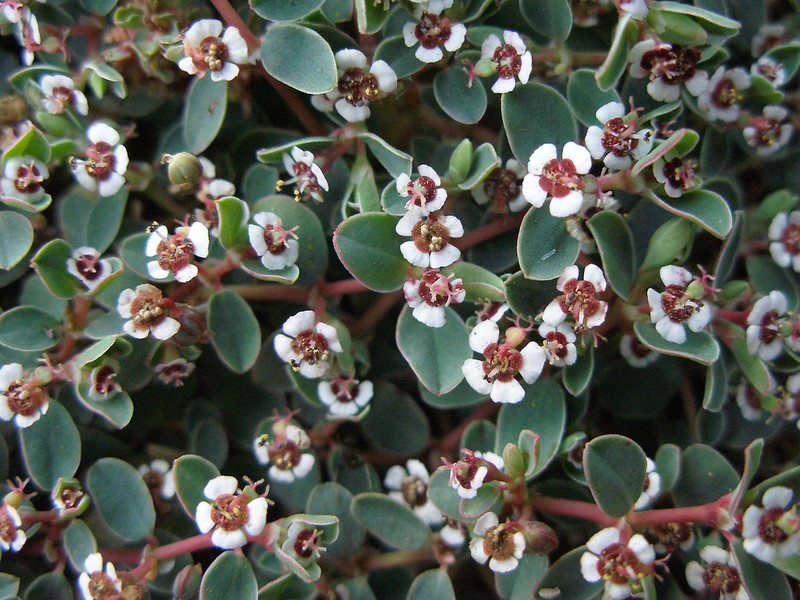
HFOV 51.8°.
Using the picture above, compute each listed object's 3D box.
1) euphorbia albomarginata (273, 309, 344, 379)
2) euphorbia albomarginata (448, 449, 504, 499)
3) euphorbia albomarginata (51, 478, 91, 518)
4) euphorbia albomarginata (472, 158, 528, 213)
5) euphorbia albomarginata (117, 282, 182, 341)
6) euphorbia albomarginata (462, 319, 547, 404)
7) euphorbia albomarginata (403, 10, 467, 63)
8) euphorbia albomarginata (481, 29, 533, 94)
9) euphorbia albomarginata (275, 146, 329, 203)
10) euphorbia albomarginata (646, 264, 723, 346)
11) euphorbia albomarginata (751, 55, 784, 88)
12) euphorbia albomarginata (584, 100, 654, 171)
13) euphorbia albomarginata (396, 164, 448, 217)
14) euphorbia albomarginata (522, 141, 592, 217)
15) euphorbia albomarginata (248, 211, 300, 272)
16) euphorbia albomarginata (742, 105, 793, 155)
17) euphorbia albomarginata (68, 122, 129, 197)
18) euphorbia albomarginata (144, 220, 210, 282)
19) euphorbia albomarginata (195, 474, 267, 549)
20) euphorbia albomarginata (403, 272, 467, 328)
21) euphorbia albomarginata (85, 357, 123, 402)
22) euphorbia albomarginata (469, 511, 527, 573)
[{"bbox_3d":[-0.233,0.118,2.111,0.149,0.121,0.121,-39,62,-20],"label":"euphorbia albomarginata"},{"bbox_3d":[0.183,0.441,2.070,0.118,0.131,0.100,-27,57,-15],"label":"euphorbia albomarginata"},{"bbox_3d":[-0.842,0.507,2.109,0.077,0.070,0.075,-40,62,-21],"label":"euphorbia albomarginata"},{"bbox_3d":[0.282,-0.295,2.221,0.135,0.095,0.136,-39,62,-20],"label":"euphorbia albomarginata"},{"bbox_3d":[-0.621,0.025,2.098,0.145,0.130,0.057,30,19,3],"label":"euphorbia albomarginata"},{"bbox_3d":[0.256,0.166,2.042,0.190,0.141,0.154,20,59,16],"label":"euphorbia albomarginata"},{"bbox_3d":[0.093,-0.686,2.167,0.159,0.100,0.104,-14,56,-5],"label":"euphorbia albomarginata"},{"bbox_3d":[0.276,-0.624,2.137,0.107,0.093,0.182,-14,58,-6],"label":"euphorbia albomarginata"},{"bbox_3d":[-0.247,-0.325,2.149,0.058,0.121,0.150,-20,102,-36],"label":"euphorbia albomarginata"},{"bbox_3d":[0.700,0.009,2.079,0.170,0.084,0.183,44,92,-2],"label":"euphorbia albomarginata"},{"bbox_3d":[1.045,-0.646,2.372,0.085,0.042,0.102,18,84,3],"label":"euphorbia albomarginata"},{"bbox_3d":[0.562,-0.410,2.105,0.164,0.096,0.150,23,61,17],"label":"euphorbia albomarginata"},{"bbox_3d":[0.054,-0.272,2.072,0.119,0.088,0.123,-9,56,-2],"label":"euphorbia albomarginata"},{"bbox_3d":[0.386,-0.303,2.031,0.146,0.067,0.172,17,60,14],"label":"euphorbia albomarginata"},{"bbox_3d":[-0.322,-0.156,2.127,0.116,0.146,0.137,-11,55,-4],"label":"euphorbia albomarginata"},{"bbox_3d":[1.065,-0.485,2.386,0.059,0.131,0.146,-29,93,-57],"label":"euphorbia albomarginata"},{"bbox_3d":[-0.795,-0.369,2.226,0.151,0.074,0.196,20,84,3],"label":"euphorbia albomarginata"},{"bbox_3d":[-0.564,-0.126,2.100,0.139,0.073,0.162,22,94,9],"label":"euphorbia albomarginata"},{"bbox_3d":[-0.417,0.538,2.048,0.183,0.104,0.159,7,57,8],"label":"euphorbia albomarginata"},{"bbox_3d":[0.089,-0.023,2.076,0.143,0.088,0.139,-27,59,-14],"label":"euphorbia albomarginata"},{"bbox_3d":[-0.770,0.208,2.143,0.082,0.064,0.088,-18,57,-8],"label":"euphorbia albomarginata"},{"bbox_3d":[0.247,0.607,2.051,0.134,0.079,0.110,20,60,15],"label":"euphorbia albomarginata"}]
